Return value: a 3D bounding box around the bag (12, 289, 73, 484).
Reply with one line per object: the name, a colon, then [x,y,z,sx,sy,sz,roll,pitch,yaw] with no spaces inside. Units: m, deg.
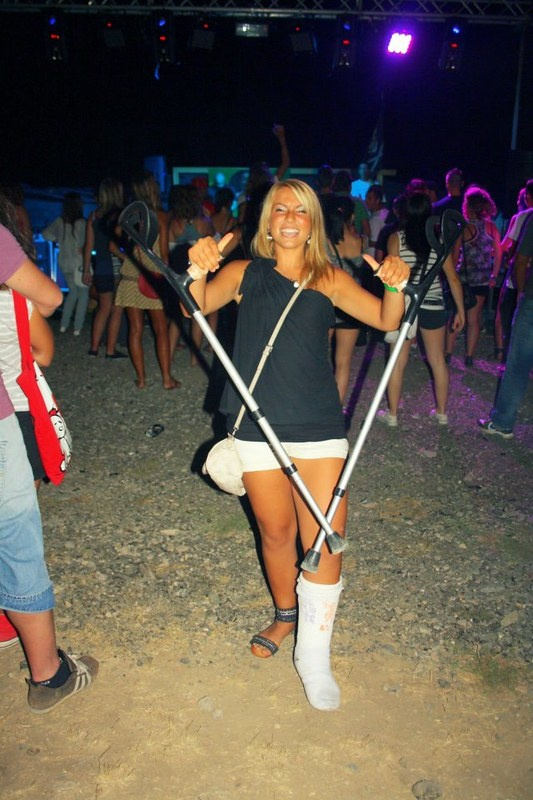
bag: [-0.776,-0.015,2.365,0.137,0.775,0.281,-1,21,-13]
